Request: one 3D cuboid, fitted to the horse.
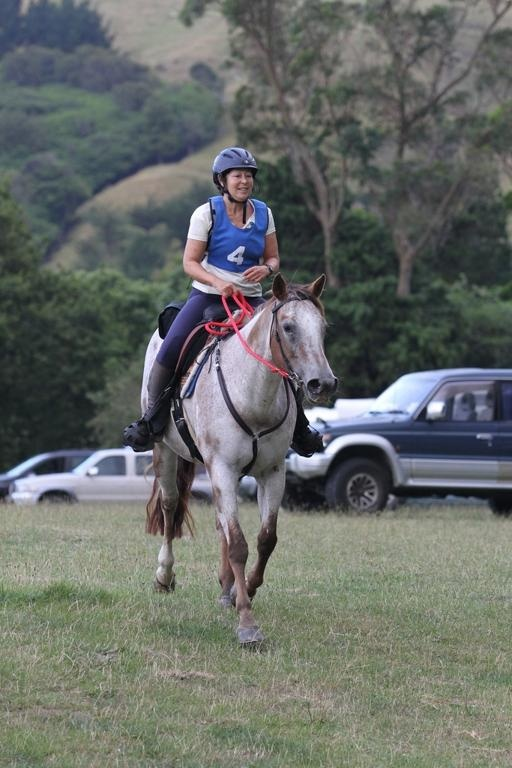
[{"bbox_3d":[-0.231,0.506,12.929,0.840,2.689,3.647,1,1,-17],"label":"horse"}]

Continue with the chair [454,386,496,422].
[{"bbox_3d":[2.787,0.246,21.072,0.410,0.574,0.486,-2,-8,17],"label":"chair"}]

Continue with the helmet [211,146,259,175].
[{"bbox_3d":[-0.176,-1.663,12.565,0.325,0.201,0.326,-1,6,-2],"label":"helmet"}]

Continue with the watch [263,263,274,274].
[{"bbox_3d":[0.075,-0.858,12.457,0.073,0.064,0.070,-5,-5,-28],"label":"watch"}]
